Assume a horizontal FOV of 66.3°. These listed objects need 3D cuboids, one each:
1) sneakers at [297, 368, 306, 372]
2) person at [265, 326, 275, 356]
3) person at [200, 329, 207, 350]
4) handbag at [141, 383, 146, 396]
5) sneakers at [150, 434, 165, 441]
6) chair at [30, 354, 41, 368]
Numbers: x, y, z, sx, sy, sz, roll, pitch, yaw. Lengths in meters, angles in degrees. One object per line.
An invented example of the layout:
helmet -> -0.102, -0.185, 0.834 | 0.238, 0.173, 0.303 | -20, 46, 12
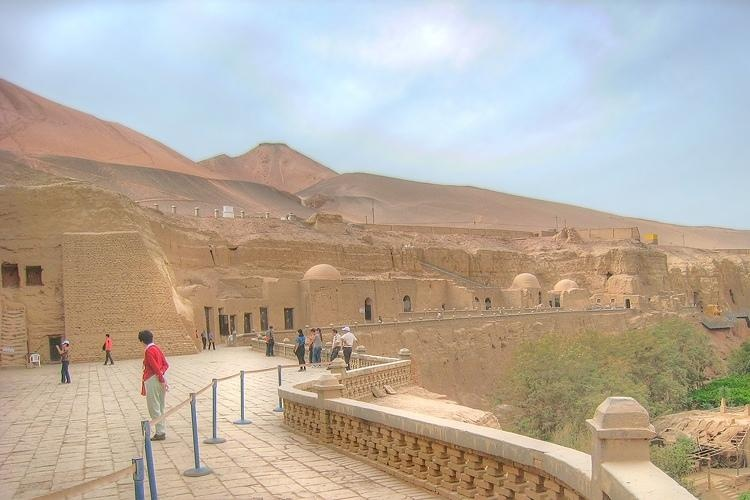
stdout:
sneakers -> -2.633, 4.282, 20.541 | 0.303, 0.245, 0.124 | 3, -11, -7
person -> -4.614, 4.025, 25.151 | 0.344, 1.227, 1.161 | -3, -6, -11
person -> -8.839, 4.647, 29.644 | 0.264, 0.889, 1.155 | -2, -6, -17
handbag -> -4.595, 2.745, 11.417 | 0.061, 0.229, 0.155 | -2, -6, -13
sneakers -> -4.439, 3.837, 11.773 | 0.360, 0.130, 0.113 | 6, -10, -10
chair -> -13.872, 4.491, 23.402 | 0.343, 0.488, 0.920 | 0, -7, -31
